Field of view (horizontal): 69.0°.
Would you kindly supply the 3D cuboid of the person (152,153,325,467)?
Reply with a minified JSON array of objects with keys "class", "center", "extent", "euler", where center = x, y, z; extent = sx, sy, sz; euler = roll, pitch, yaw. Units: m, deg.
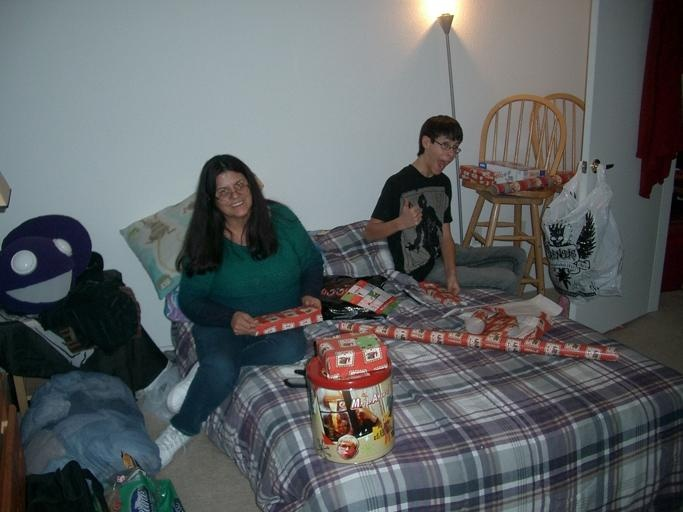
[{"class":"person","center":[-0.367,0.184,2.219],"extent":[0.745,1.106,0.786],"euler":[-1,16,15]}]

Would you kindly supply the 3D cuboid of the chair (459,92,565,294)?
[{"class":"chair","center":[1.138,-0.459,3.414],"extent":[0.557,1.182,0.563],"euler":[-4,33,-1]}]

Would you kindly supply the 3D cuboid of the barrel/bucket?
[{"class":"barrel/bucket","center":[0.040,0.488,1.665],"extent":[0.278,0.330,0.287],"euler":[-3,14,1]}]

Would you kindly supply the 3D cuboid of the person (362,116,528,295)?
[{"class":"person","center":[0.624,-0.101,2.819],"extent":[0.831,1.345,0.705],"euler":[5,17,26]}]

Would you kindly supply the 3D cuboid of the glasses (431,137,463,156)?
[{"class":"glasses","center":[0.578,-0.592,2.701],"extent":[0.162,0.085,0.061],"euler":[-10,16,-21]}]

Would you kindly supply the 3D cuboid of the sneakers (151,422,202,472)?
[{"class":"sneakers","center":[-0.737,0.820,2.241],"extent":[0.095,0.119,0.277],"euler":[-11,21,35]}]

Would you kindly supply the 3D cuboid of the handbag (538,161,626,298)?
[{"class":"handbag","center":[1.412,-0.122,2.859],"extent":[0.396,0.750,0.560],"euler":[-6,10,-5]}]
